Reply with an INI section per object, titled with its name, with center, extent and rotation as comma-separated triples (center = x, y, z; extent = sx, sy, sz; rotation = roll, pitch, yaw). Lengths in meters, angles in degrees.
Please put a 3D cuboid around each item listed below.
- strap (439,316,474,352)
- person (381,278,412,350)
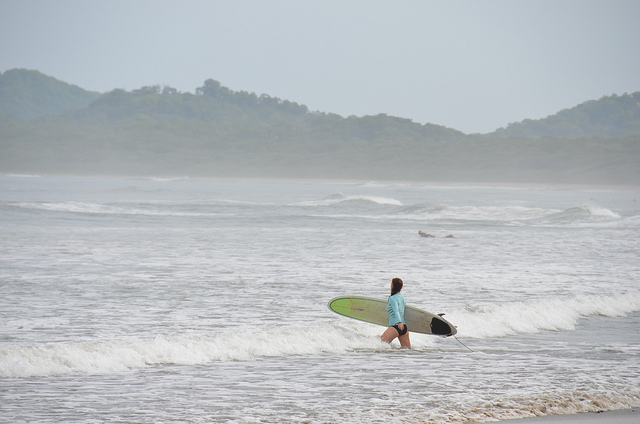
[strap]
center = 4.475, 4.019, 29.115
extent = 1.792, 0.083, 0.219
rotation = 36, 36, 31
[person]
center = 2.477, 3.200, 28.080
extent = 0.923, 2.296, 0.417
rotation = 1, 12, 3
